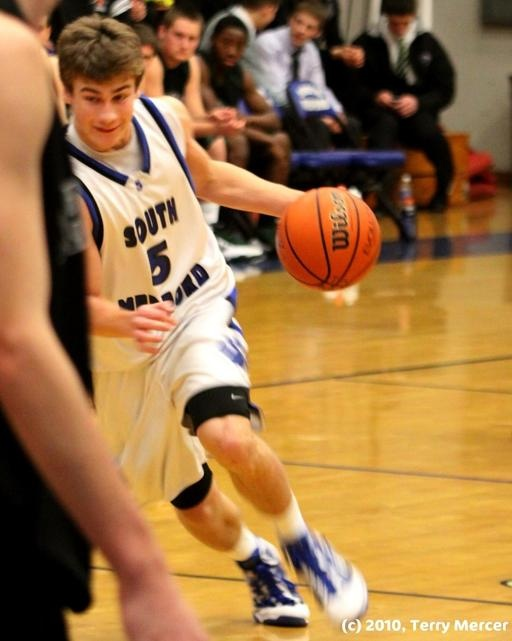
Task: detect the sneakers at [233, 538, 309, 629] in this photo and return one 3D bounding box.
[{"bbox_3d":[0.040,0.602,1.520,0.094,0.115,0.271,1,4,-27],"label":"sneakers"}]

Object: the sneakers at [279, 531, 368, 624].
[{"bbox_3d":[0.118,0.495,1.369,0.092,0.107,0.250,-44,27,4],"label":"sneakers"}]
